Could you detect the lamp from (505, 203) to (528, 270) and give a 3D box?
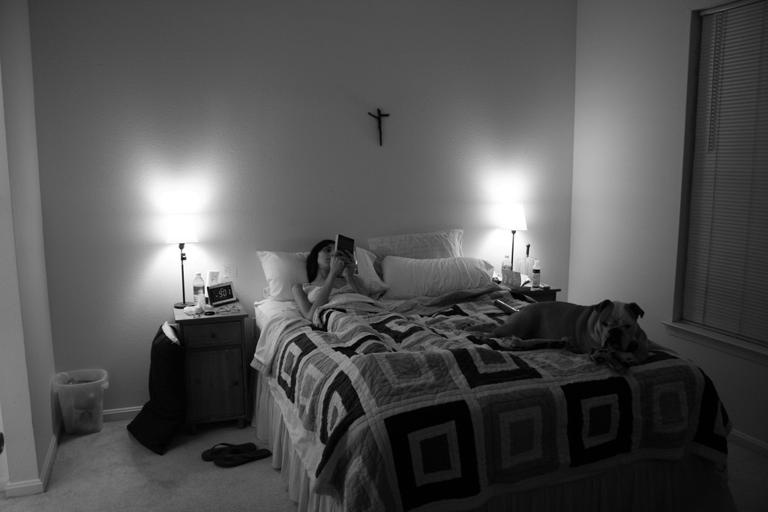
[{"bbox_3d":[1.255,-0.184,5.264,0.182,0.620,0.333,-3,5,14],"label":"lamp"}]

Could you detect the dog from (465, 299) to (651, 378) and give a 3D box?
[{"bbox_3d":[1.146,0.461,3.437,0.508,0.272,0.716,3,-6,-41],"label":"dog"}]

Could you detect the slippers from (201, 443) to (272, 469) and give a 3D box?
[{"bbox_3d":[-1.065,1.408,3.958,0.261,0.052,0.202,-1,2,-37],"label":"slippers"}]

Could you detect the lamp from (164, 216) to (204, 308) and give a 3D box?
[{"bbox_3d":[-1.560,0.033,4.398,0.244,0.728,0.239,-6,5,-19],"label":"lamp"}]

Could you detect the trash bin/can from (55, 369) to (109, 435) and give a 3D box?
[{"bbox_3d":[-2.319,1.136,4.311,0.394,0.424,0.380,1,1,-38],"label":"trash bin/can"}]
